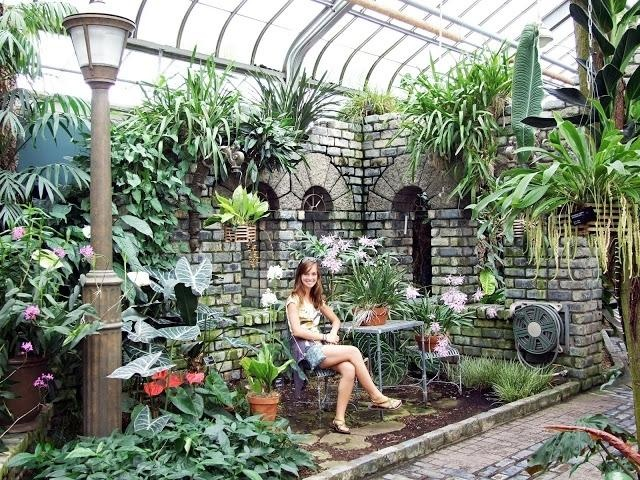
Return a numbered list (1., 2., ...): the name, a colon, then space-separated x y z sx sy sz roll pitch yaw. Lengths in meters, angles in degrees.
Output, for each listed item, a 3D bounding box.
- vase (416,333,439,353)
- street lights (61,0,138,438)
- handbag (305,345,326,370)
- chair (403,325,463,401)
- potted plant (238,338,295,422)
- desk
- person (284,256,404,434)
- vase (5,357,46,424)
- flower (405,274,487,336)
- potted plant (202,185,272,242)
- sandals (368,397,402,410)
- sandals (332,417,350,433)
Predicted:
1. vase: 1.247 1.167 5.454 0.204 0.152 0.219 2 -8 -4
2. street lights: -1.495 -0.112 3.290 0.455 2.954 0.350 -1 0 -1
3. handbag: -0.047 1.103 4.469 0.158 0.236 0.094 -5 -12 31
4. chair: 1.423 1.480 5.807 0.694 1.014 1.010 0 3 -3
5. potted plant: -0.484 1.290 4.221 0.407 0.546 0.613 -1 0 -18
6. desk: 0.705 1.394 5.319 0.865 0.976 0.945 -7 -13 35
7. person: 0.133 0.977 4.565 0.849 1.141 0.488 0 0 38
8. vase: -2.053 1.031 3.268 0.141 0.503 0.298 0 0 10
9. flower: 1.523 0.829 5.733 0.772 0.591 0.758 -8 8 -31
10. potted plant: -0.981 -0.248 5.340 0.807 0.620 0.738 -4 -10 20
11. sandals: 0.639 1.547 4.516 0.209 0.085 0.149 -3 -2 1
12. sandals: 0.188 1.712 4.402 0.086 0.081 0.176 4 -10 -22
